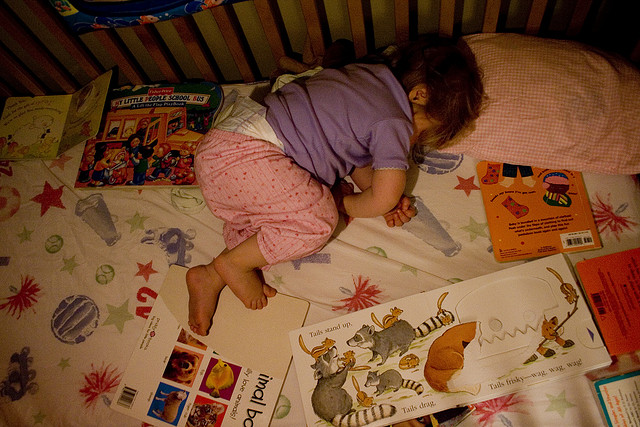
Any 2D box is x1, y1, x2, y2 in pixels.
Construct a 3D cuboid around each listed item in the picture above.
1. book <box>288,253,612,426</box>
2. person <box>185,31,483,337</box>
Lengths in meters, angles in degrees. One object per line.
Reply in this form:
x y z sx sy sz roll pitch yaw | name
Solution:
0.377 0.416 1.324 0.918 0.232 0.276 -16 38 2 | book
-0.035 -0.057 1.601 1.117 0.504 0.707 -25 77 0 | person
